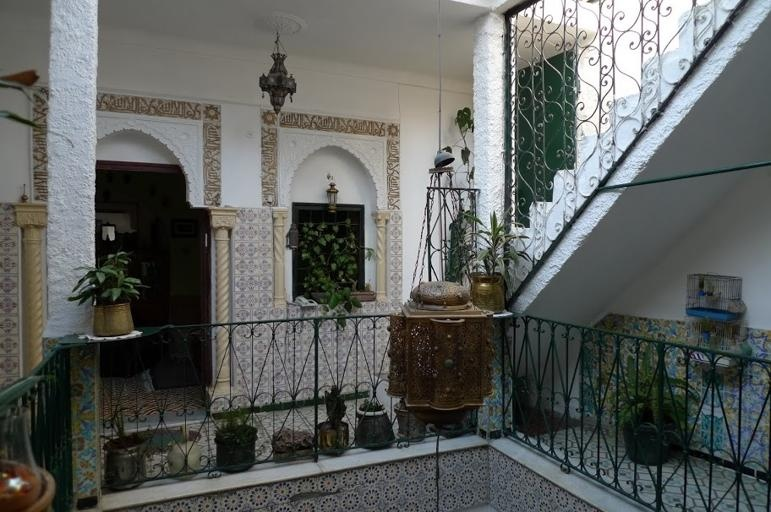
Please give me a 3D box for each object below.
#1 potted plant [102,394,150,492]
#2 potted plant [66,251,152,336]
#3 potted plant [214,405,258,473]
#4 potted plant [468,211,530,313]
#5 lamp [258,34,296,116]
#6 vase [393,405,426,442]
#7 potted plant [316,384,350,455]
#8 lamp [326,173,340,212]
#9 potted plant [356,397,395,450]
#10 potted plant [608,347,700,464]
[{"bbox_3d":[-2.831,1.938,6.798,0.423,0.784,1.493,0,1,-21],"label":"potted plant"},{"bbox_3d":[-2.581,0.356,5.719,0.597,0.791,0.415,0,0,-26],"label":"potted plant"},{"bbox_3d":[-1.598,1.946,6.646,0.587,0.803,0.527,2,-10,-11],"label":"potted plant"},{"bbox_3d":[1.200,0.072,7.089,0.778,1.145,0.704,0,0,35],"label":"potted plant"},{"bbox_3d":[-1.345,-2.290,7.763,0.557,1.008,0.576,2,-3,-8],"label":"lamp"},{"bbox_3d":[0.335,1.963,7.339,0.422,0.456,0.433,10,-17,-40],"label":"vase"},{"bbox_3d":[-0.581,1.810,6.896,0.345,0.729,0.496,0,0,-4],"label":"potted plant"},{"bbox_3d":[-0.776,-0.935,9.249,0.208,0.561,0.188,0,0,-20],"label":"lamp"},{"bbox_3d":[-0.120,1.890,6.984,0.440,0.499,0.405,0,0,1],"label":"potted plant"},{"bbox_3d":[3.002,1.699,7.028,0.929,1.311,0.865,8,-3,-22],"label":"potted plant"}]
